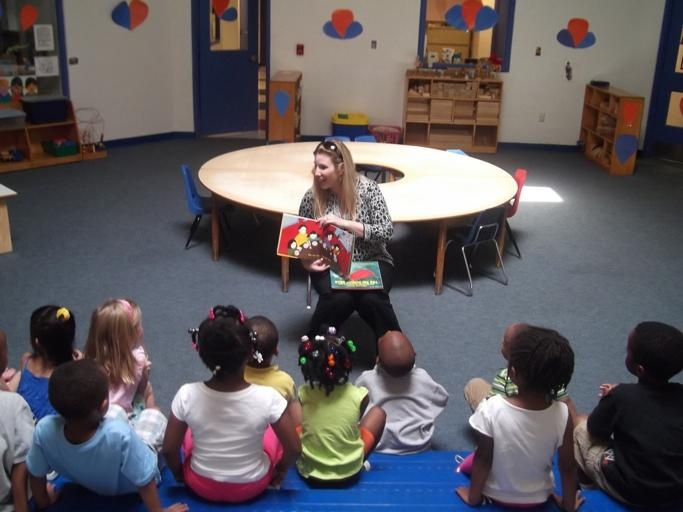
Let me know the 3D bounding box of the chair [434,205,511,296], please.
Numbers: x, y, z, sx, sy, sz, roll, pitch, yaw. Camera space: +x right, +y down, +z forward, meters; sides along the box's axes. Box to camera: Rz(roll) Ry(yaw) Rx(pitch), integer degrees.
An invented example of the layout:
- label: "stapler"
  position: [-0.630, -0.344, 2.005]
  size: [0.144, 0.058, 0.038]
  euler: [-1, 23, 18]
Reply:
- label: "chair"
  position: [1.183, -0.115, 4.787]
  size: [0.444, 0.798, 0.542]
  euler: [-13, 22, -21]

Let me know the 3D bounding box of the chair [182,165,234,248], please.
- label: "chair"
  position: [-1.275, -0.494, 5.236]
  size: [0.495, 0.760, 0.527]
  euler: [-1, 18, 0]

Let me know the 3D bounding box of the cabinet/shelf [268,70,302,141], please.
- label: "cabinet/shelf"
  position: [-0.889, -2.347, 8.429]
  size: [0.362, 1.021, 1.119]
  euler: [1, 22, 1]

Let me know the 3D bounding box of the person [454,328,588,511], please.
- label: "person"
  position: [0.709, 0.643, 2.117]
  size: [0.493, 0.752, 0.317]
  euler: [1, 1, 17]

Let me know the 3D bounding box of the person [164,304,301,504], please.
- label: "person"
  position: [-0.433, 0.589, 2.125]
  size: [0.512, 0.802, 0.325]
  euler: [1, 1, -20]

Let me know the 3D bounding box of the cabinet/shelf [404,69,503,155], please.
- label: "cabinet/shelf"
  position: [1.848, -2.400, 8.834]
  size: [1.676, 1.456, 0.630]
  euler: [1, 19, 1]

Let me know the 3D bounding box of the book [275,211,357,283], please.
- label: "book"
  position: [-0.162, -0.063, 3.436]
  size: [0.475, 0.388, 0.100]
  euler: [1, 1, 1]

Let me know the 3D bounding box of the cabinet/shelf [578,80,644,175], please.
- label: "cabinet/shelf"
  position: [4.222, -2.030, 8.500]
  size: [0.369, 1.142, 1.261]
  euler: [-4, 26, 0]

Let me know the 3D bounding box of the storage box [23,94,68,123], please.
- label: "storage box"
  position: [-4.051, -2.054, 7.386]
  size: [0.493, 0.272, 0.355]
  euler: [-17, 32, -40]

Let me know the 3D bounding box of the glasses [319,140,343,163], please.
- label: "glasses"
  position: [-0.052, -0.659, 3.424]
  size: [0.112, 0.124, 0.034]
  euler: [11, 43, 2]
